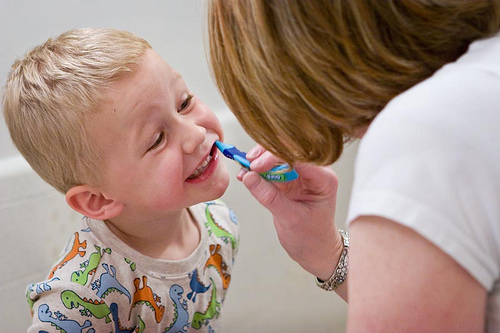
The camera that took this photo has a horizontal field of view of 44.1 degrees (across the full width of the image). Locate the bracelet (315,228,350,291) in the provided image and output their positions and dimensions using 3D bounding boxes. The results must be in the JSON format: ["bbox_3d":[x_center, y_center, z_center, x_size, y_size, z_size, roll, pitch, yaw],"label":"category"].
[{"bbox_3d":[0.178,0.239,1.447,0.106,0.047,0.131,-31,23,23],"label":"bracelet"}]
